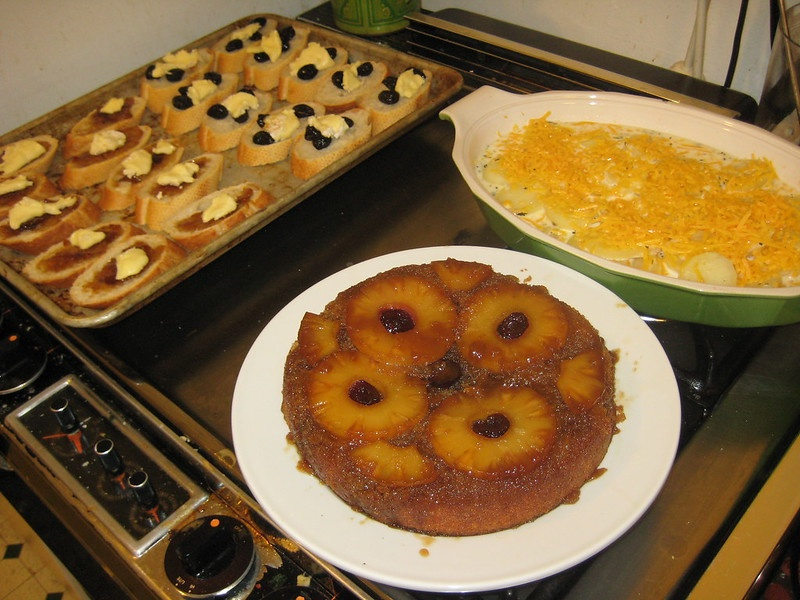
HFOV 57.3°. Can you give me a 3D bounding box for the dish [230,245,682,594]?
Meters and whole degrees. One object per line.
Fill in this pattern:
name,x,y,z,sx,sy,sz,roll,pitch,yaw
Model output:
dish,0.165,0.305,2.175,1.289,0.177,1.077,-17,51,-6
